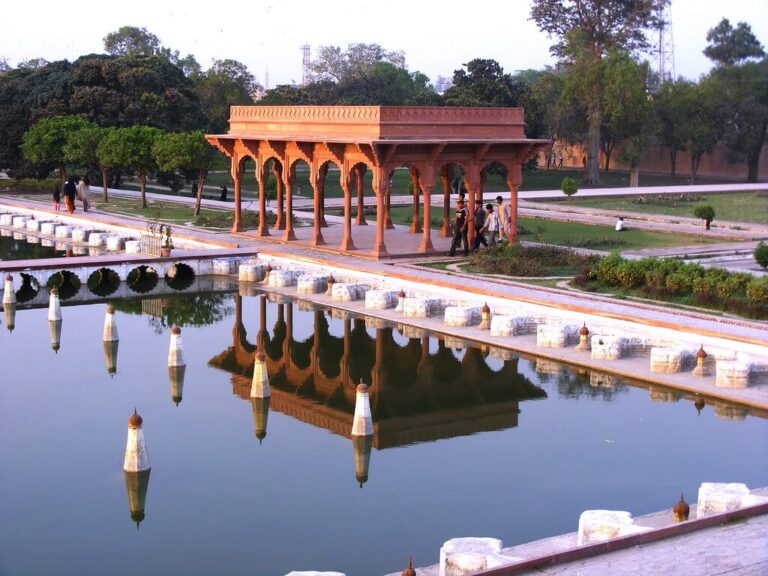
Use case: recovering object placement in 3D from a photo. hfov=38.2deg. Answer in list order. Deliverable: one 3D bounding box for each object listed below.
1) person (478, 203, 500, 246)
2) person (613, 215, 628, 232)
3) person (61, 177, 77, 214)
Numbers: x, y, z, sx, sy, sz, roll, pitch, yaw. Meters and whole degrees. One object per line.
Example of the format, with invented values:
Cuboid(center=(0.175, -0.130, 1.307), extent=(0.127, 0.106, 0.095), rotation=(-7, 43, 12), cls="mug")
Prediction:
Cuboid(center=(3.494, -1.924, 35.868), extent=(0.556, 1.725, 0.519), rotation=(8, 30, 28), cls="person")
Cuboid(center=(9.585, -2.646, 45.019), extent=(0.455, 0.551, 0.895), rotation=(16, -15, 18), cls="person")
Cuboid(center=(-13.529, -3.975, 47.381), extent=(0.403, 1.328, 2.029), rotation=(-1, 8, -18), cls="person")
